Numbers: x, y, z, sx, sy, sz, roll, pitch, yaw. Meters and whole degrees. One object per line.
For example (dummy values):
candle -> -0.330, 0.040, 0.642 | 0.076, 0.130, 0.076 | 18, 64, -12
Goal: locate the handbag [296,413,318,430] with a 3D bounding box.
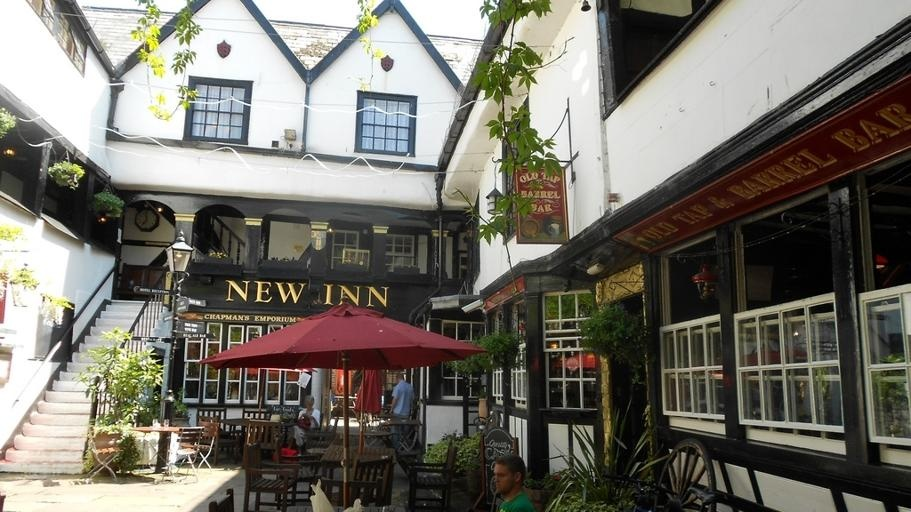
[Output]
handbag -> -4.133, 4.560, 20.007 | 0.536, 0.228, 0.528 | -6, -18, 14

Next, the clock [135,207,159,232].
clock -> -10.942, -1.261, 25.399 | 0.870, 0.964, 0.126 | -6, -24, -32

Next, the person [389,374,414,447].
person -> -1.733, 4.677, 21.701 | 0.725, 2.296, 0.818 | -11, -19, 41

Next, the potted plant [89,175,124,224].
potted plant -> -11.092, -1.771, 22.754 | 0.956, 1.141, 0.914 | 9, 8, 21

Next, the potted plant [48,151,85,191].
potted plant -> -11.013, -2.319, 20.275 | 0.824, 0.845, 0.854 | 14, 11, 28
